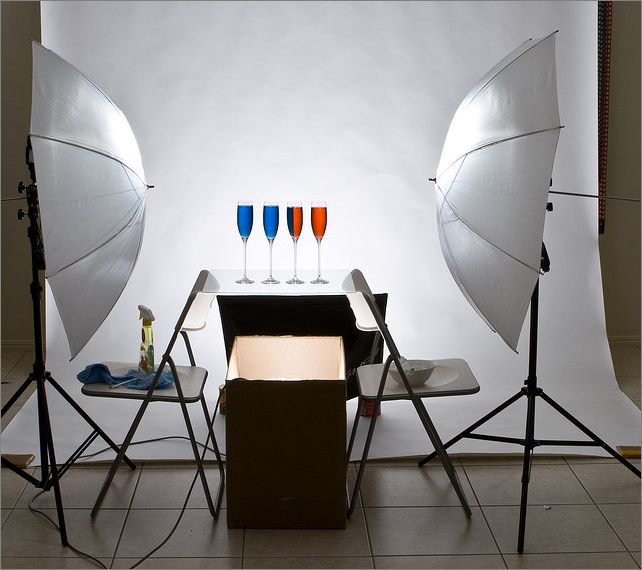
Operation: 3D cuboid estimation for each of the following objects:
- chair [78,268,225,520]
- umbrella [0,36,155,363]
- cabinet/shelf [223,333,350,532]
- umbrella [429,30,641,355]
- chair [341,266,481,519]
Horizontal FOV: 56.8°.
[{"bbox_3d":[-0.623,0.405,2.280,0.473,0.913,0.490,2,9,-21],"label":"chair"},{"bbox_3d":[-0.765,-0.264,2.120,0.324,1.100,1.006,-4,28,-14],"label":"umbrella"},{"bbox_3d":[-0.135,0.532,2.244,0.435,0.545,0.466,0,14,-1],"label":"cabinet/shelf"},{"bbox_3d":[0.494,-0.213,2.190,0.654,1.264,1.066,3,11,-2],"label":"umbrella"},{"bbox_3d":[0.290,0.298,2.578,0.633,1.425,0.656,-2,7,1],"label":"chair"}]
